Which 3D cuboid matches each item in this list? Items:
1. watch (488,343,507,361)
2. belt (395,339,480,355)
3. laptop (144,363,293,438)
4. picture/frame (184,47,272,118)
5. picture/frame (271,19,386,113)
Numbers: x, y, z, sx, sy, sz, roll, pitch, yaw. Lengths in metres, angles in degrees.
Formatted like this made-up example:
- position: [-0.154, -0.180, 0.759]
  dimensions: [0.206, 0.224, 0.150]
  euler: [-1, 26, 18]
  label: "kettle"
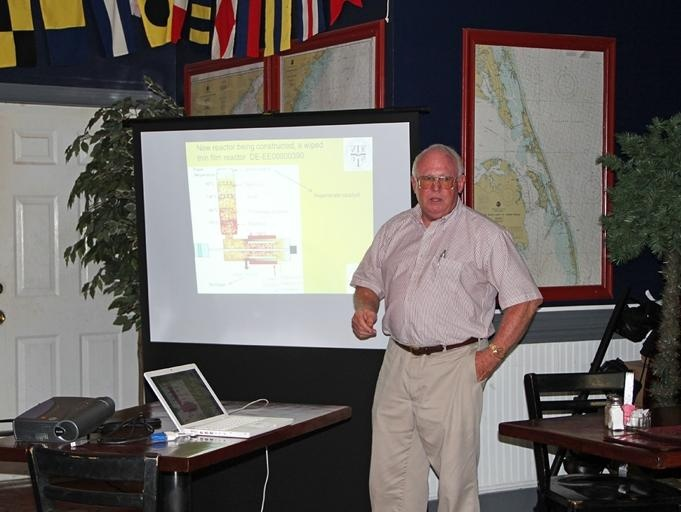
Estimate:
- position: [0.737, 0.452, 3.586]
  dimensions: [0.053, 0.078, 0.026]
  euler: [-1, 15, 33]
  label: "watch"
- position: [0.500, 0.440, 3.651]
  dimensions: [0.318, 0.088, 0.053]
  euler: [0, 4, 5]
  label: "belt"
- position: [-0.610, 0.582, 3.430]
  dimensions: [0.388, 0.212, 0.387]
  euler: [0, -1, 24]
  label: "laptop"
- position: [-0.893, -1.318, 5.825]
  dimensions: [0.933, 0.423, 0.144]
  euler: [3, 5, 39]
  label: "picture/frame"
- position: [-0.102, -1.444, 5.245]
  dimensions: [0.774, 0.038, 0.476]
  euler: [-16, 4, -5]
  label: "picture/frame"
